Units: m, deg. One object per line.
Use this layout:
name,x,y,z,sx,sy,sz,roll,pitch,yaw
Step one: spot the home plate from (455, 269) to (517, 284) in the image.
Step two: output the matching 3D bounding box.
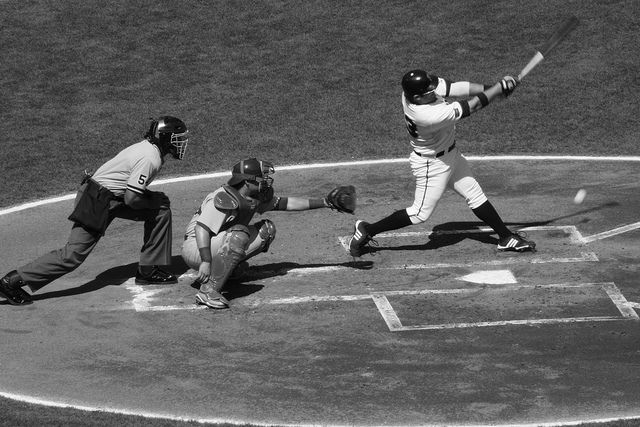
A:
home plate,2.159,0.844,11.585,0.732,0.145,0.306,-6,49,4

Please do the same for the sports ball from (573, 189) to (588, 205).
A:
sports ball,4.019,-0.238,13.699,0.103,0.062,0.320,0,20,32

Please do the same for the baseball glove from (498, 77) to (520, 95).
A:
baseball glove,2.450,-1.655,11.617,0.316,0.285,0.168,-9,83,-17
